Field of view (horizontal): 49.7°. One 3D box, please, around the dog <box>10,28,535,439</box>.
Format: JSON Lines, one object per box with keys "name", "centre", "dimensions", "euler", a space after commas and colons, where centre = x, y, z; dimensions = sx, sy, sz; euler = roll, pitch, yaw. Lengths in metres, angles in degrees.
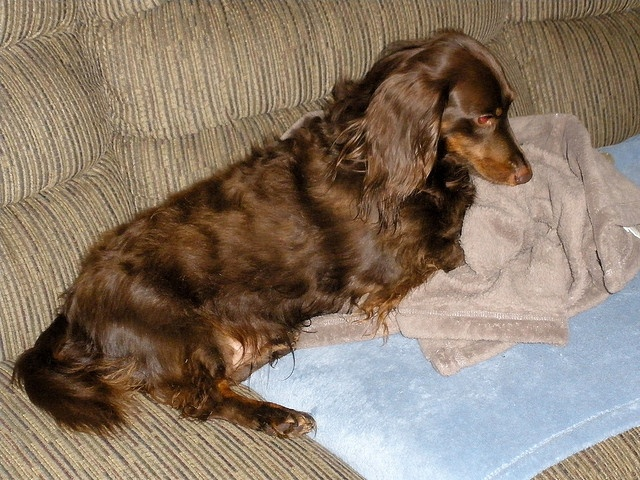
{"name": "dog", "centre": [-0.131, 0.109, 3.558], "dimensions": [2.737, 1.532, 1.250], "euler": [-29, 29, 10]}
